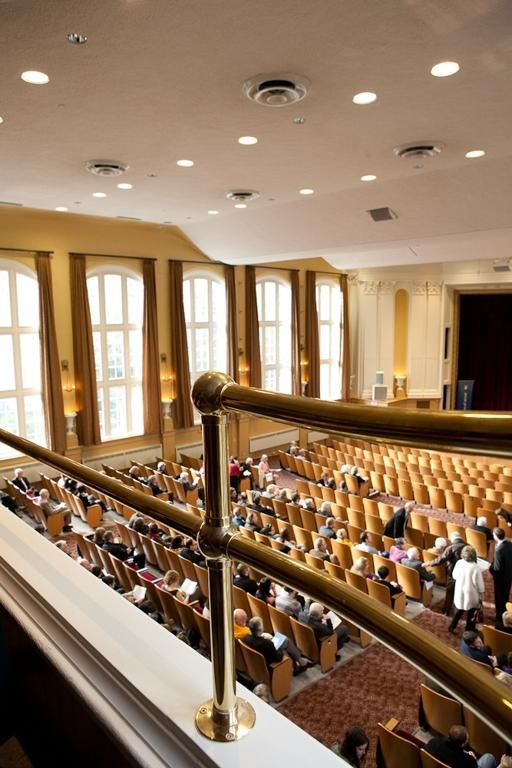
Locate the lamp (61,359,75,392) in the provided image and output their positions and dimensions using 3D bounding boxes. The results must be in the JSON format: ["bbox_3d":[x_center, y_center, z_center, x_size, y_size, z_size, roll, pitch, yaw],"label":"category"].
[{"bbox_3d":[-4.184,-0.174,11.487,0.080,0.691,0.319,0,-2,37],"label":"lamp"}]

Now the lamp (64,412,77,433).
[{"bbox_3d":[-3.991,0.839,11.479,0.370,0.398,0.375,-2,17,-11],"label":"lamp"}]

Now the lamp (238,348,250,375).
[{"bbox_3d":[-0.309,-0.623,14.882,0.127,0.800,0.319,0,-3,44],"label":"lamp"}]

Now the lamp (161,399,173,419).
[{"bbox_3d":[-2.212,0.632,13.179,0.168,0.420,0.398,1,-2,30],"label":"lamp"}]

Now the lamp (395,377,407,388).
[{"bbox_3d":[5.530,-0.048,19.357,0.385,0.456,0.378,3,9,6],"label":"lamp"}]

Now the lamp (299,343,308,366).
[{"bbox_3d":[1.604,-0.974,16.724,0.152,0.758,0.518,1,-2,25],"label":"lamp"}]
